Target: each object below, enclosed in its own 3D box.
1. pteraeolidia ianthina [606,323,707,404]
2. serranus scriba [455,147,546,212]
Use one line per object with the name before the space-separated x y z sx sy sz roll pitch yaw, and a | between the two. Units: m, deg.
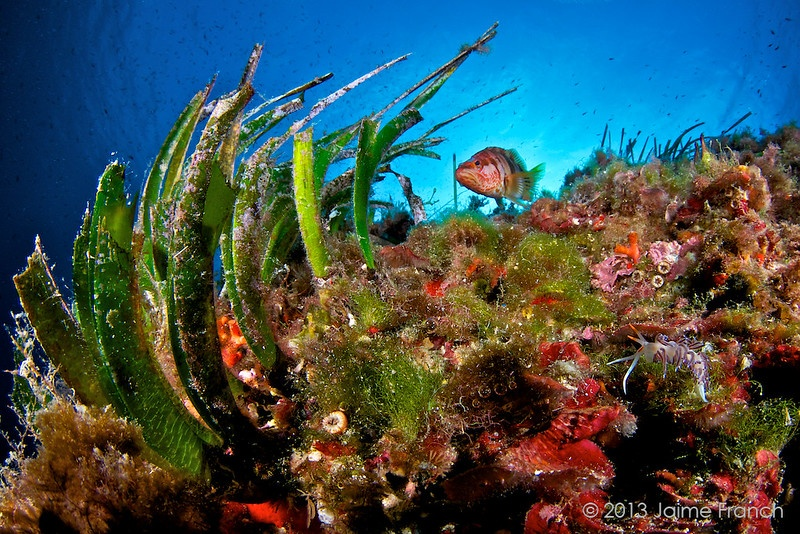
pteraeolidia ianthina | 2.088 0.760 7.117 0.717 0.529 0.228 -1 -2 -8
serranus scriba | 0.939 -0.876 8.733 0.796 0.506 0.306 -1 -2 1
